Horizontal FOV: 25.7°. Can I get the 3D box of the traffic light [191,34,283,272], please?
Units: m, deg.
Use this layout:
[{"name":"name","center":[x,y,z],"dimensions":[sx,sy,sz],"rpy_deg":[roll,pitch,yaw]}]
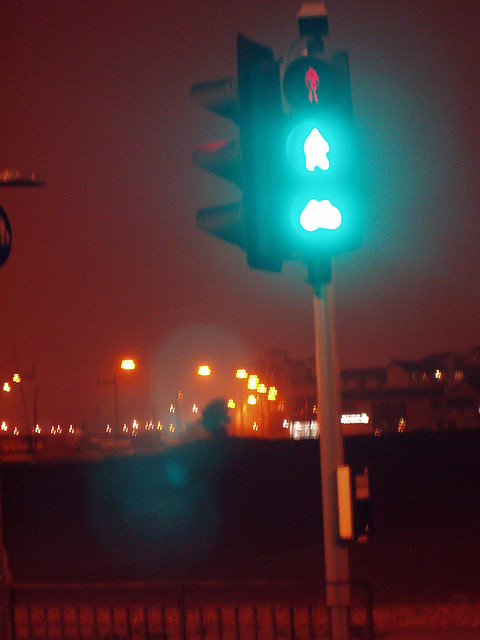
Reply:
[{"name":"traffic light","center":[-0.012,-1.739,11.256],"dimensions":[0.917,2.387,0.739],"rpy_deg":[-2,-12,5]}]
